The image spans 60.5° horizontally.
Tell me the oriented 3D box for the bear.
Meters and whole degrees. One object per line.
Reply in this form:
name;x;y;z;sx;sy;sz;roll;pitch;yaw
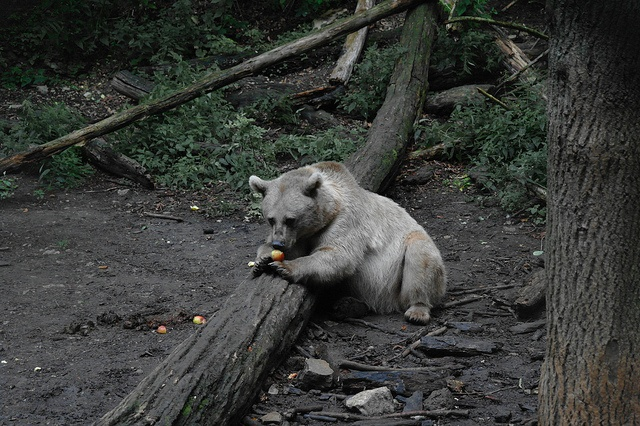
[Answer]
bear;0.440;0.408;6.604;1.466;2.551;1.325;-7;67;62

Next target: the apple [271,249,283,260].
apple;-0.469;0.450;5.828;0.110;0.085;0.107;5;3;30
